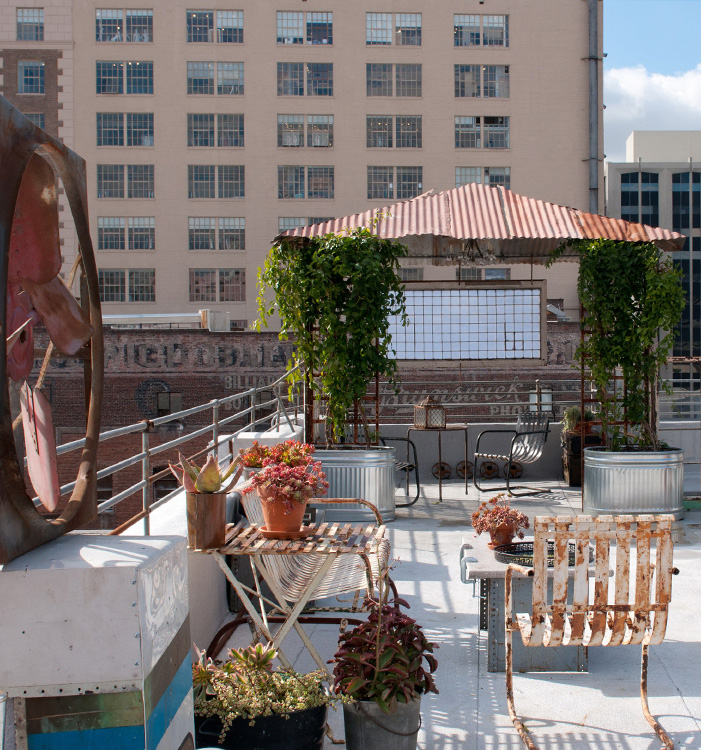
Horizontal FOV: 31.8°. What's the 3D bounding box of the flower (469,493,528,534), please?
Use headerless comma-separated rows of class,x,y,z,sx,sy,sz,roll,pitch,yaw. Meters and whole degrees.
flower,0.855,0.796,6.882,0.299,0.220,0.336,1,-1,15

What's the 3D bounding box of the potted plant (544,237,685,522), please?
potted plant,2.429,-0.013,10.684,0.885,2.328,1.301,0,4,11

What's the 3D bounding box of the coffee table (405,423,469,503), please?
coffee table,0.988,0.954,13.146,0.564,0.767,0.626,0,2,4

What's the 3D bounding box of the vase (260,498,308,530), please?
vase,-0.308,0.649,5.703,0.142,0.127,0.159,1,-6,-3

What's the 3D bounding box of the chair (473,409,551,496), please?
chair,1.738,0.785,12.428,0.611,0.910,0.571,3,2,-30

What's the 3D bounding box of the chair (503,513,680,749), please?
chair,1.137,1.047,6.039,0.661,1.225,1.184,0,2,3

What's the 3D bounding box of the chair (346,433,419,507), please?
chair,0.503,0.966,12.444,0.435,0.723,0.367,-1,-3,15

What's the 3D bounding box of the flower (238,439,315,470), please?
flower,-0.289,0.406,6.075,0.205,0.159,0.294,-4,1,38

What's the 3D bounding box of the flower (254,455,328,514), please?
flower,-0.299,0.504,5.742,0.227,0.156,0.241,0,-1,-25

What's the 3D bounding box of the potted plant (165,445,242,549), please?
potted plant,-0.634,0.565,5.699,0.312,0.505,0.380,-1,0,11
